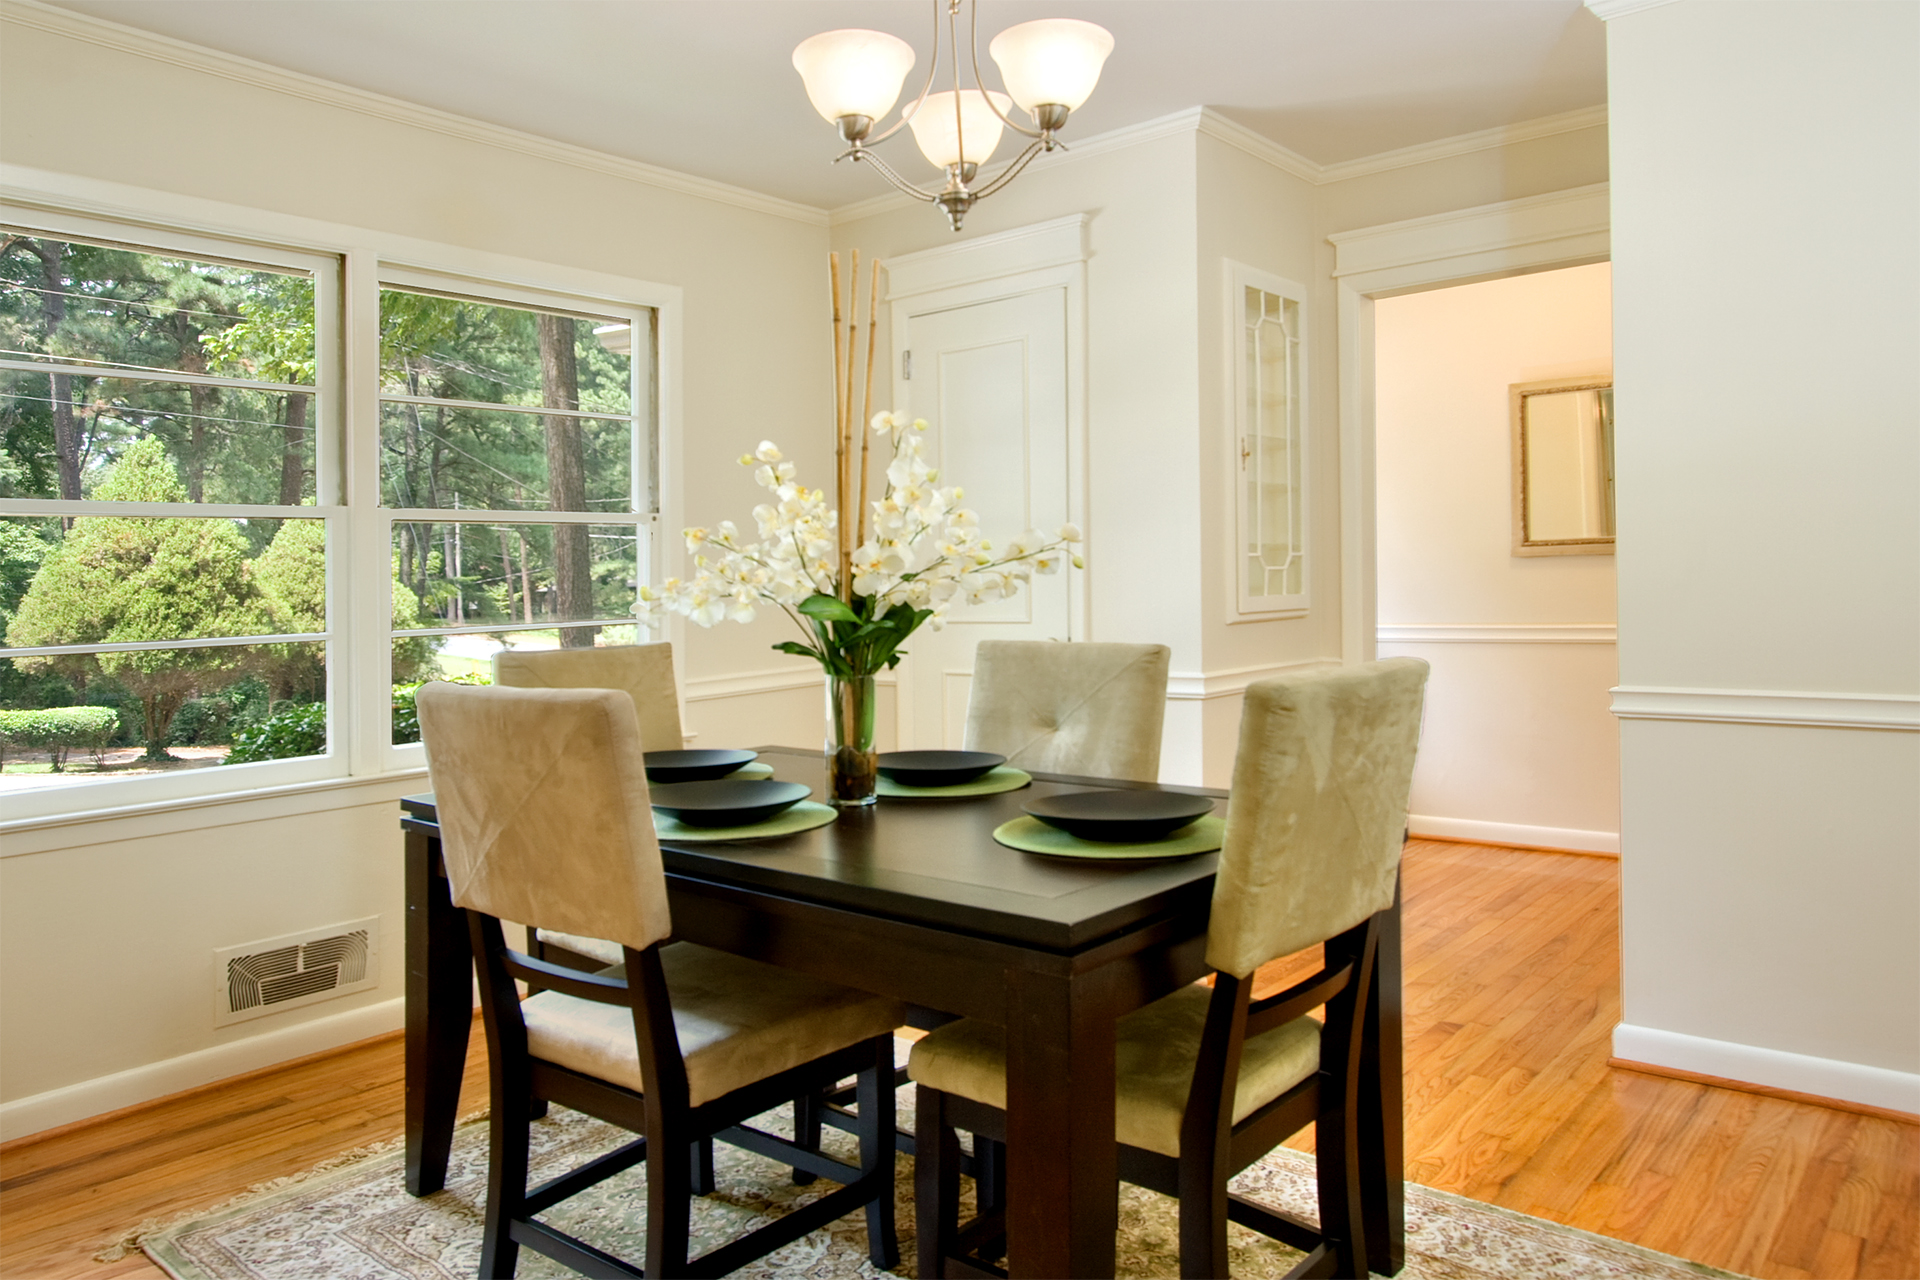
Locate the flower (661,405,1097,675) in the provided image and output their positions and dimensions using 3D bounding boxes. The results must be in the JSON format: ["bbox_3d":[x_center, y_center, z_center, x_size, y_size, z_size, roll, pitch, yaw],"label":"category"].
[{"bbox_3d":[-0.277,-0.139,3.326,1.026,0.684,0.840,-6,-14,17],"label":"flower"}]
